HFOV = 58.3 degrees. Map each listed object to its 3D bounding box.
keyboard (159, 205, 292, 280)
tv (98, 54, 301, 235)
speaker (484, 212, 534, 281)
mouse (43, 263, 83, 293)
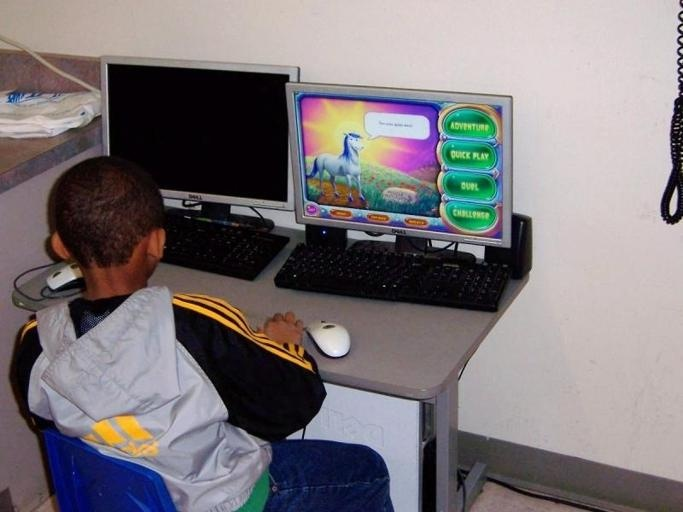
[{"bbox_3d":[-0.381,-0.034,1.968,0.371,0.053,0.212,15,39,23],"label":"keyboard"},{"bbox_3d":[-0.444,-0.366,1.918,0.516,0.424,0.182,6,20,15],"label":"tv"},{"bbox_3d":[0.487,-0.025,1.806,0.119,0.198,0.100,18,32,35],"label":"speaker"},{"bbox_3d":[-0.848,0.075,1.864,0.085,0.030,0.053,-32,53,-24],"label":"mouse"}]
